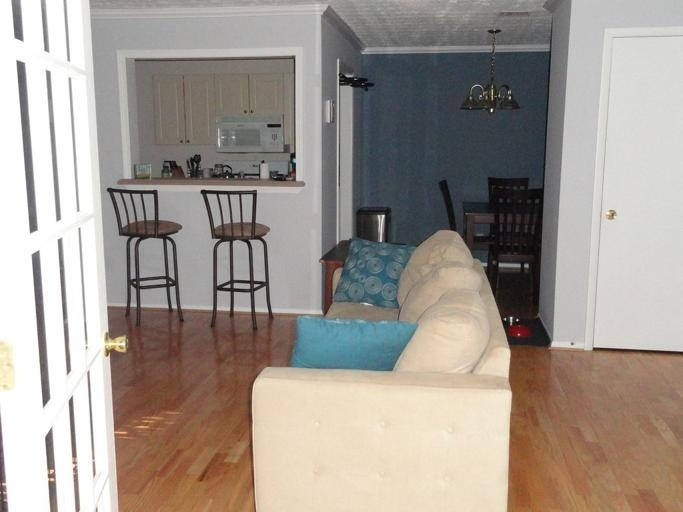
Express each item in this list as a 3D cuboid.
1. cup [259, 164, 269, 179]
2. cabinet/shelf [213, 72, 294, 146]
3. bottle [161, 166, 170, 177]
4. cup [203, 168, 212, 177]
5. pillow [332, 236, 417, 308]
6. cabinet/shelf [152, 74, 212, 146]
[{"bbox_3d":[-0.744,-0.823,5.569,0.078,0.156,0.323,-2,8,-11],"label":"cup"},{"bbox_3d":[-1.151,-2.010,7.672,1.064,0.978,0.406,-2,37,-5],"label":"cabinet/shelf"},{"bbox_3d":[-1.826,-0.887,5.999,0.091,0.130,0.366,-2,8,-17],"label":"bottle"},{"bbox_3d":[-1.598,-0.979,6.814,0.110,0.127,0.112,2,22,-1],"label":"cup"},{"bbox_3d":[0.212,0.121,4.067,0.496,0.486,0.152,8,-11,29],"label":"pillow"},{"bbox_3d":[-2.076,-1.969,7.560,0.786,0.934,0.464,1,9,2],"label":"cabinet/shelf"}]
